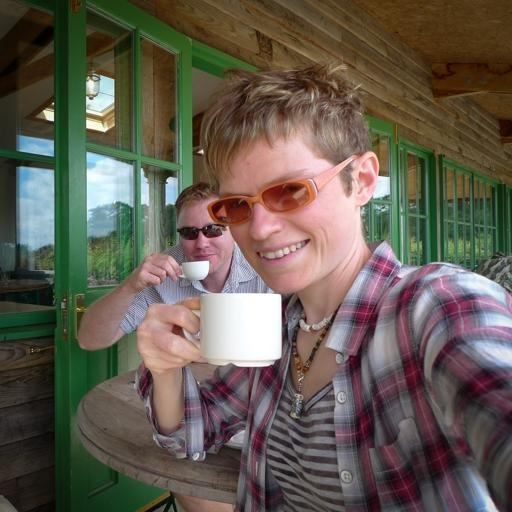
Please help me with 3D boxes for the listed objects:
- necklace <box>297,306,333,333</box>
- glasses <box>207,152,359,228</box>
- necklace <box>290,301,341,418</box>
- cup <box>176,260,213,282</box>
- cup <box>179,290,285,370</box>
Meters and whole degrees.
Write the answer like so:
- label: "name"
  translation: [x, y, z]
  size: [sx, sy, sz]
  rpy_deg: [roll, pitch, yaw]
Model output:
- label: "necklace"
  translation: [0.136, 0.138, 0.950]
  size: [0.052, 0.017, 0.058]
  rpy_deg: [-1, 23, 42]
- label: "glasses"
  translation: [0.036, -0.116, 0.841]
  size: [0.197, 0.048, 0.187]
  rpy_deg: [-14, 13, 45]
- label: "necklace"
  translation: [0.122, 0.177, 0.928]
  size: [0.053, 0.313, 0.046]
  rpy_deg: [-6, -29, 38]
- label: "cup"
  translation: [-0.268, 0.059, 1.913]
  size: [0.080, 0.053, 0.118]
  rpy_deg: [2, -7, -43]
- label: "cup"
  translation: [-0.035, 0.127, 0.747]
  size: [0.160, 0.099, 0.115]
  rpy_deg: [-3, -6, 25]
